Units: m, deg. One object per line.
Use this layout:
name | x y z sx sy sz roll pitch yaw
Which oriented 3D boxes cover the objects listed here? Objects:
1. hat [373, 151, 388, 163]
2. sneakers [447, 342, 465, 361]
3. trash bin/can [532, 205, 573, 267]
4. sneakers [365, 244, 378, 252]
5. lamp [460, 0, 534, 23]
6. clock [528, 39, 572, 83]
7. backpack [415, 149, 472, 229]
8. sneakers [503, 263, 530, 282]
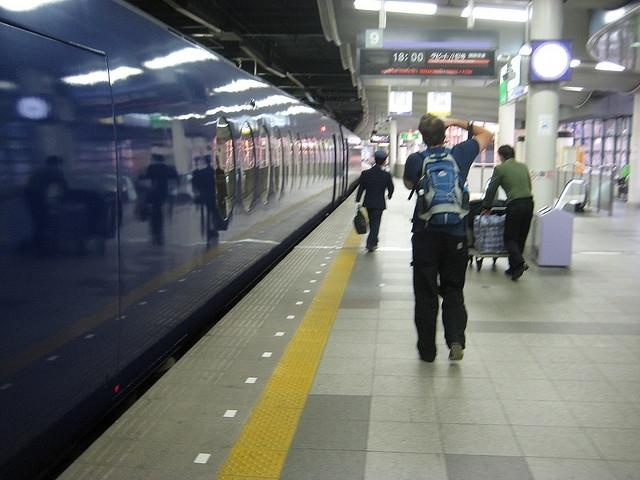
hat | 1.308 -1.800 9.340 0.294 0.272 0.272 5 9 -5
sneakers | 1.195 0.967 3.813 0.118 0.210 0.273 3 9 19
trash bin/can | 3.978 -0.035 7.486 0.582 0.989 1.065 -1 4 13
sneakers | 1.045 0.155 8.916 0.214 0.131 0.342 1 9 3
lamp | 4.810 -6.169 11.619 1.452 0.331 1.413 5 18 11
clock | 5.031 -3.899 9.592 0.813 0.766 0.795 3 6 19
backpack | 1.022 -0.450 3.651 0.448 0.656 0.310 2 9 10
sneakers | 3.066 0.503 6.785 0.134 0.265 0.383 -32 10 -41
